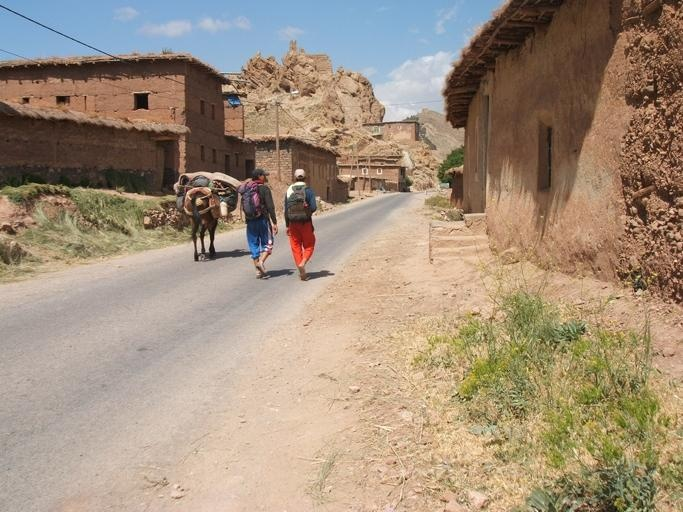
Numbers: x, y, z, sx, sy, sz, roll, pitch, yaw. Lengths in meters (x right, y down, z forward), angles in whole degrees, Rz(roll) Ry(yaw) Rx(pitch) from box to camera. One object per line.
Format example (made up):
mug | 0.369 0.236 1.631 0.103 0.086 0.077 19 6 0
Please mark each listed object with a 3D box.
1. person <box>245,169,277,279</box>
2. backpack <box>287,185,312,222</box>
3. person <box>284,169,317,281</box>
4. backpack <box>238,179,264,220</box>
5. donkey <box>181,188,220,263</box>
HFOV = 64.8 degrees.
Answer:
person | -1.658 -0.680 11.119 0.684 2.211 0.863 1 8 0
backpack | -0.829 -1.035 10.519 0.465 0.691 0.360 -1 10 5
person | -0.791 -0.652 10.772 0.699 2.276 0.739 2 7 3
backpack | -1.817 -1.128 10.908 0.404 0.801 0.618 -9 17 -35
donkey | -3.568 -0.805 14.066 0.695 2.081 2.717 -3 -3 -5
